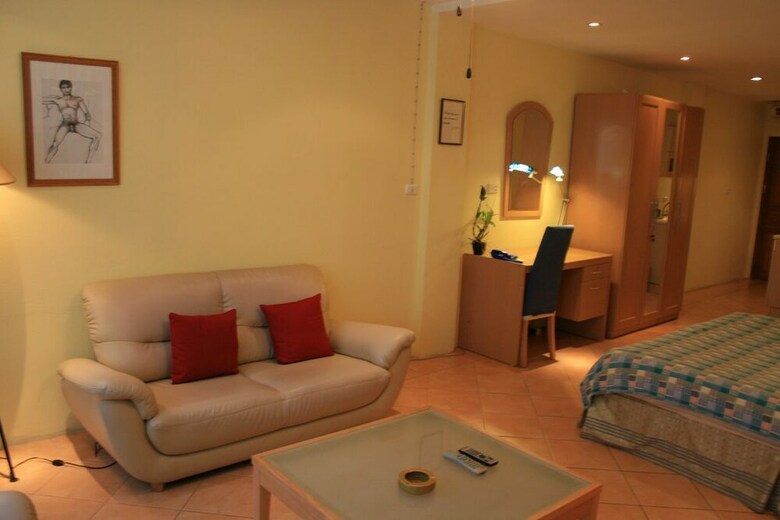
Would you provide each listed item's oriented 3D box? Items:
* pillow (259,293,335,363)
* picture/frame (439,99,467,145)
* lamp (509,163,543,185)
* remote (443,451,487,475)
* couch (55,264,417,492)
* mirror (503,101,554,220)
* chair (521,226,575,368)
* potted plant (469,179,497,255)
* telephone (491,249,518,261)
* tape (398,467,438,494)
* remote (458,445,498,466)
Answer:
[{"bbox_3d":[-0.730,0.523,4.315,0.436,0.395,0.224,-12,8,-28],"label":"pillow"},{"bbox_3d":[0.558,-1.304,5.409,0.420,0.516,0.044,-6,14,-41],"label":"picture/frame"},{"bbox_3d":[1.403,-0.918,6.115,0.282,0.096,0.179,15,11,-9],"label":"lamp"},{"bbox_3d":[0.421,1.151,3.263,0.166,0.034,0.092,15,10,43],"label":"remote"},{"bbox_3d":[-1.257,0.273,4.048,2.579,1.259,1.311,-5,7,-39],"label":"couch"},{"bbox_3d":[1.416,-1.047,6.110,0.677,1.210,0.140,-9,16,-38],"label":"mirror"},{"bbox_3d":[1.453,0.336,5.460,0.534,1.339,0.306,-11,17,-42],"label":"chair"},{"bbox_3d":[0.912,-0.407,5.833,0.187,0.663,0.455,6,13,22],"label":"potted plant"},{"bbox_3d":[1.078,-0.045,5.583,0.180,0.072,0.331,-7,14,-34],"label":"telephone"},{"bbox_3d":[0.133,1.191,3.097,0.195,0.066,0.139,1,11,-1],"label":"tape"},{"bbox_3d":[0.485,1.129,3.311,0.091,0.023,0.166,-2,8,-41],"label":"remote"}]
